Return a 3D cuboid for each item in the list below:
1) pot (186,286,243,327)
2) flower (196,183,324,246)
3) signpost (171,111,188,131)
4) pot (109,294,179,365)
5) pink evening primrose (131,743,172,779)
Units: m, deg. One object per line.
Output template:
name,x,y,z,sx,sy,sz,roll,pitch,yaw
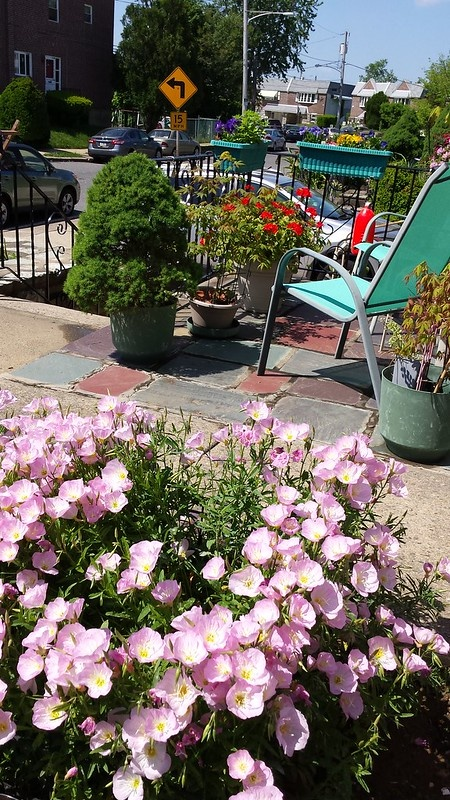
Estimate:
pot,-0.111,-0.947,5.044,0.449,0.384,0.415,7,20,-3
flower,0.355,-1.970,5.358,0.930,0.529,0.933,19,30,10
signpost,-0.862,-5.356,9.616,0.282,0.348,0.559,4,21,-10
pot,-0.651,-0.591,4.197,0.469,0.439,0.528,1,19,2
pink evening primrose,-0.107,0.539,0.768,0.053,0.060,0.030,-14,-3,9
